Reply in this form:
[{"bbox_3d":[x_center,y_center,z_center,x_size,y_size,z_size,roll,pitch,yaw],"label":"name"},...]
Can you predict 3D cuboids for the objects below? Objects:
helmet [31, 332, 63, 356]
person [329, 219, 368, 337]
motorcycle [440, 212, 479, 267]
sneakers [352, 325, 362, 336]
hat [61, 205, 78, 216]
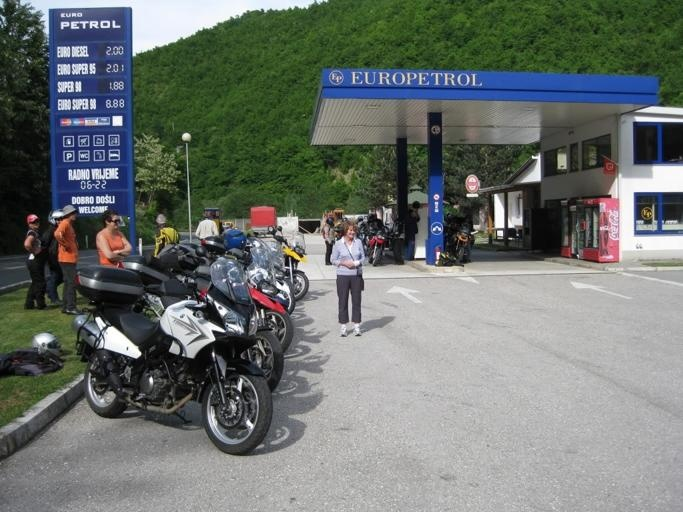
[{"bbox_3d":[-4.223,1.258,8.703,0.344,0.369,0.338,1,8,-21],"label":"helmet"},{"bbox_3d":[0.118,0.426,11.033,0.560,1.996,0.550,0,5,0],"label":"person"},{"bbox_3d":[4.529,-0.613,23.737,1.111,1.880,4.206,1,6,11],"label":"motorcycle"},{"bbox_3d":[0.269,1.366,11.058,0.122,0.195,0.396,0,-5,0],"label":"sneakers"},{"bbox_3d":[-5.178,-0.808,11.479,0.281,0.113,0.275,-28,6,9],"label":"hat"}]
